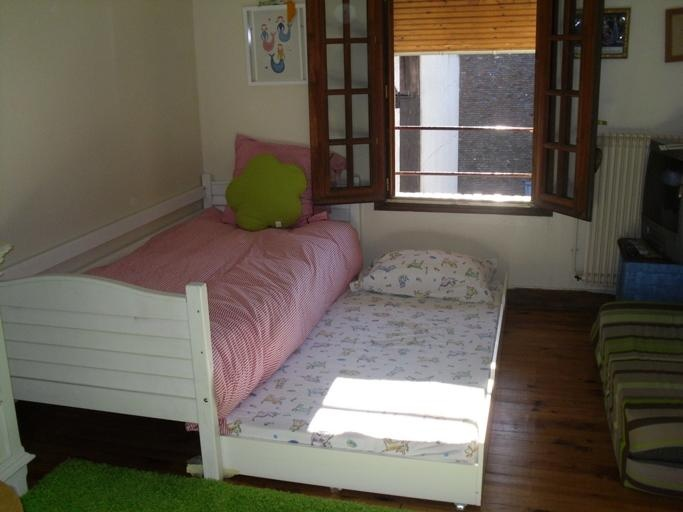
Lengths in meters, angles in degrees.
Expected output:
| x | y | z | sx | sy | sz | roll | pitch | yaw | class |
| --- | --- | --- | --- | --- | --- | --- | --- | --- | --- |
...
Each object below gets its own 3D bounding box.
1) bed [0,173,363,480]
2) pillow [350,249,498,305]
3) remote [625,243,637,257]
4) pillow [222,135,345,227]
| x | y | z | sx | sy | sz | roll | pitch | yaw | class |
| --- | --- | --- | --- | --- | --- | --- | --- | --- | --- |
| -0.828 | 0.258 | 2.677 | 0.842 | 0.582 | 1.419 | 4 | 16 | 13 | bed |
| 0.569 | 0.127 | 3.574 | 0.663 | 0.188 | 0.465 | 5 | 24 | 17 | pillow |
| 1.927 | -0.031 | 3.470 | 0.062 | 0.030 | 0.152 | -3 | 21 | 21 | remote |
| -0.431 | -0.541 | 4.146 | 0.748 | 0.748 | 0.226 | 6 | 6 | 25 | pillow |
